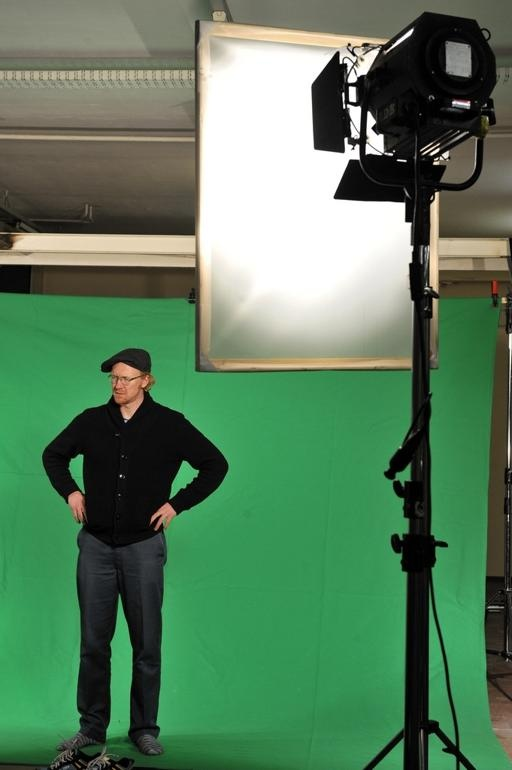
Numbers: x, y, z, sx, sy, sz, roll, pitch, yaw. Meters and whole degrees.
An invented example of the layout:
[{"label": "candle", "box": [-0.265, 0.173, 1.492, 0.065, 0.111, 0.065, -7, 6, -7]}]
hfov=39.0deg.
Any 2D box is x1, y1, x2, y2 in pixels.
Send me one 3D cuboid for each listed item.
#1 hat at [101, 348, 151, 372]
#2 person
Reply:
[{"label": "hat", "box": [-0.489, -0.088, 2.749, 0.142, 0.072, 0.099, 10, -4, -21]}, {"label": "person", "box": [-0.483, 0.632, 2.767, 0.617, 1.507, 0.398, 8, -14, -29]}]
